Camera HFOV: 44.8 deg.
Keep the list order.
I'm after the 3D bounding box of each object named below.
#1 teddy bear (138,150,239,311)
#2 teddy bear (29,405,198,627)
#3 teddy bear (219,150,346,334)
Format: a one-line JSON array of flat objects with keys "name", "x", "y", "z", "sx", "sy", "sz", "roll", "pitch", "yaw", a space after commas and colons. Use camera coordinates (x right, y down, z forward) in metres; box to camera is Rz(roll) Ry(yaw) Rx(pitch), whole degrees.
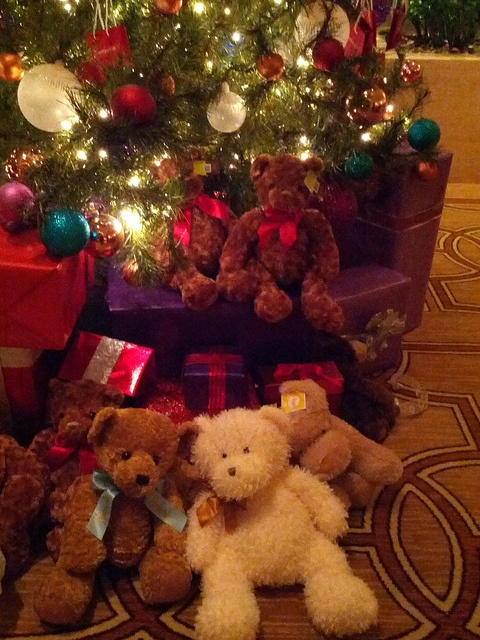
[{"name": "teddy bear", "x": -0.119, "y": -0.243, "z": 1.548, "sx": 0.284, "sy": 0.364, "sz": 0.282, "roll": 16, "pitch": 32, "yaw": 20}, {"name": "teddy bear", "x": -0.224, "y": 0.369, "z": 1.212, "sx": 0.367, "sy": 0.459, "sz": 0.361, "roll": 5, "pitch": 17, "yaw": -13}, {"name": "teddy bear", "x": 0.112, "y": -0.186, "z": 1.534, "sx": 0.338, "sy": 0.444, "sz": 0.252, "roll": 4, "pitch": 33, "yaw": 7}]
